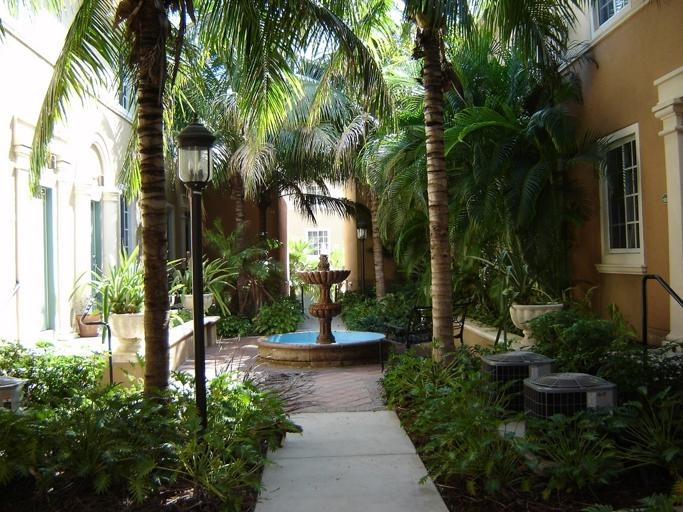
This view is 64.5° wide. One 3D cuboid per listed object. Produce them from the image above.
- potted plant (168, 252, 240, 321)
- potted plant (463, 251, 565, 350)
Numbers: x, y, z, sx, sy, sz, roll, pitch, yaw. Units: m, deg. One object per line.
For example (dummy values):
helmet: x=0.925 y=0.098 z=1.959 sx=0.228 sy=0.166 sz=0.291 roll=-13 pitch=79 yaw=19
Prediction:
potted plant: x=-3.047 y=0.606 z=12.143 sx=1.534 sy=1.296 sz=1.613 roll=-2 pitch=-6 yaw=35
potted plant: x=2.470 y=0.526 z=7.863 sx=1.182 sy=1.249 sz=1.315 roll=-4 pitch=6 yaw=5
